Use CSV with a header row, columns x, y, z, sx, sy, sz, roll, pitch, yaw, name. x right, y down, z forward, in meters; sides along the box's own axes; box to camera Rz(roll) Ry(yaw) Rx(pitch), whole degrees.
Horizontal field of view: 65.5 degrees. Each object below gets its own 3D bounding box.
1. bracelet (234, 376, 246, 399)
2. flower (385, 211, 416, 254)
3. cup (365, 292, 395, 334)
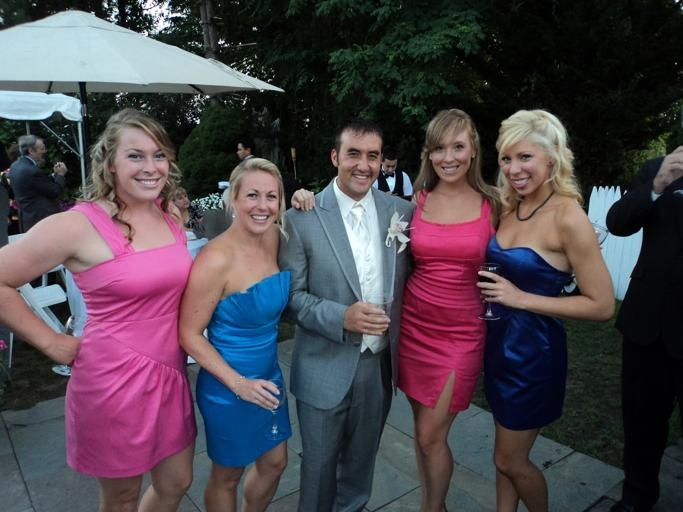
x,y,z,sx,sy,sz,roll,pitch,yaw,name
-0.574,0.762,3.033,0.040,0.113,0.086,4,-15,-7,bracelet
0.363,-0.138,3.526,0.116,0.234,0.244,2,-28,35,flower
0.254,0.362,3.269,0.227,0.252,0.236,0,-6,0,cup
